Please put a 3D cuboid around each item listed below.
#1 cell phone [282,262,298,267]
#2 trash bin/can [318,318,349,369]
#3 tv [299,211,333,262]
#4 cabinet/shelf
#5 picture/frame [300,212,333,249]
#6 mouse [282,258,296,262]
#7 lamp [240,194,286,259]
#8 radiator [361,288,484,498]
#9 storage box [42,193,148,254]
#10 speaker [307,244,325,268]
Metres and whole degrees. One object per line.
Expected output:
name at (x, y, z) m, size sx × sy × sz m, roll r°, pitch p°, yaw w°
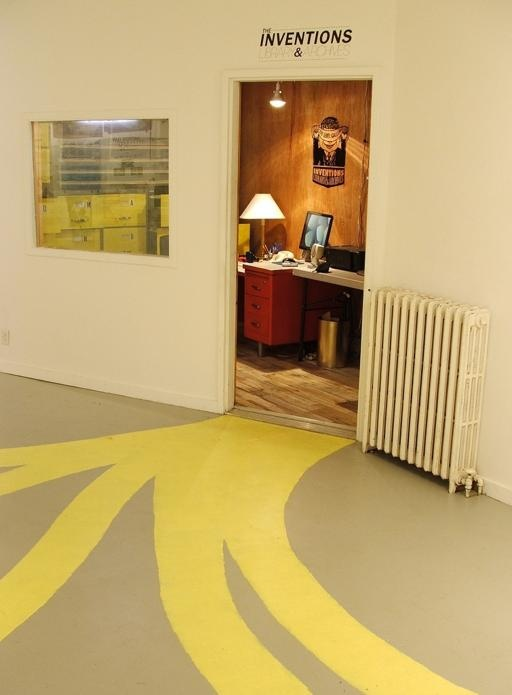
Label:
cell phone at (0.376, -0.878, 5.112) m, size 0.168 × 0.064 × 0.168 m, roll -1°, pitch 7°, yaw -21°
trash bin/can at (0.803, -0.048, 5.005) m, size 0.326 × 0.619 × 0.326 m, roll 10°, pitch 10°, yaw 34°
tv at (0.680, -1.229, 5.368) m, size 0.057 × 0.605 × 0.506 m, roll 5°, pitch 14°, yaw -29°
cabinet/shelf at (0.263, -0.438, 5.162) m, size 1.000 × 1.086 × 0.622 m, roll 0°, pitch 12°, yaw -23°
picture/frame at (0.692, -1.303, 5.413) m, size 0.038 × 0.467 × 0.406 m, roll 8°, pitch 12°, yaw -32°
mouse at (0.363, -0.943, 5.238) m, size 0.133 × 0.057 × 0.231 m, roll 2°, pitch 7°, yaw 3°
lamp at (0.127, -1.484, 6.105) m, size 0.604 × 1.116 × 0.672 m, roll 1°, pitch 8°, yaw 7°
radiator at (0.940, 0.249, 2.662) m, size 0.242 × 1.037 × 0.759 m, roll -7°, pitch 17°, yaw -31°
storage box at (-1.319, -1.017, 4.068) m, size 0.887 × 0.584 × 0.230 m, roll 3°, pitch 7°, yaw 27°
speaker at (0.660, -0.980, 5.147) m, size 0.141 × 0.265 × 0.348 m, roll 2°, pitch 6°, yaw 7°
